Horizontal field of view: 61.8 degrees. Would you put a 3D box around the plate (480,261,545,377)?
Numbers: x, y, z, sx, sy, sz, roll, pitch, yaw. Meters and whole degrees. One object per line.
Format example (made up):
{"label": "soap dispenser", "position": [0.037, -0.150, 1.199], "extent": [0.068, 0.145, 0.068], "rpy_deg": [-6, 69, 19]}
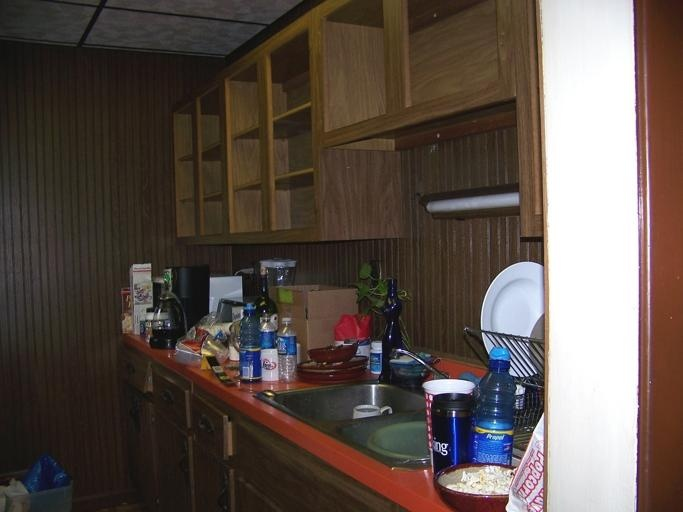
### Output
{"label": "plate", "position": [0.531, 0.197, 1.774], "extent": [0.193, 0.314, 0.378], "rpy_deg": [-2, 0, 15]}

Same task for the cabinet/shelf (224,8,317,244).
{"label": "cabinet/shelf", "position": [-0.353, -0.598, 2.858], "extent": [0.333, 1.043, 1.151], "rpy_deg": [3, -7, -23]}

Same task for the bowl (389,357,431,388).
{"label": "bowl", "position": [0.245, 0.420, 2.084], "extent": [0.108, 0.070, 0.112], "rpy_deg": [1, 4, 0]}

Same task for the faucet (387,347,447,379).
{"label": "faucet", "position": [0.273, 0.394, 2.081], "extent": [0.198, 0.075, 0.043], "rpy_deg": [22, 49, 12]}

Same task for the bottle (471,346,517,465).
{"label": "bottle", "position": [0.354, 0.359, 1.339], "extent": [0.101, 0.240, 0.131], "rpy_deg": [-2, 0, 17]}

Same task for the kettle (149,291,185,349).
{"label": "kettle", "position": [-0.927, 0.338, 3.029], "extent": [0.192, 0.302, 0.221], "rpy_deg": [-3, 0, -18]}

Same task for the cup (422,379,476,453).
{"label": "cup", "position": [0.248, 0.403, 1.468], "extent": [0.152, 0.233, 0.158], "rpy_deg": [0, -5, 0]}

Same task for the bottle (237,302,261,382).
{"label": "bottle", "position": [-0.368, 0.345, 2.284], "extent": [0.087, 0.304, 0.173], "rpy_deg": [-2, 0, -9]}

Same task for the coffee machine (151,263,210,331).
{"label": "coffee machine", "position": [-0.891, 0.188, 3.194], "extent": [0.315, 0.556, 0.337], "rpy_deg": [-1, 3, -17]}

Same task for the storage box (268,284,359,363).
{"label": "storage box", "position": [-0.106, 0.203, 2.568], "extent": [0.261, 0.301, 0.441], "rpy_deg": [-3, 5, -29]}

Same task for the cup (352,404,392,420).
{"label": "cup", "position": [0.112, 0.515, 1.898], "extent": [0.099, 0.043, 0.063], "rpy_deg": [4, -4, -20]}
